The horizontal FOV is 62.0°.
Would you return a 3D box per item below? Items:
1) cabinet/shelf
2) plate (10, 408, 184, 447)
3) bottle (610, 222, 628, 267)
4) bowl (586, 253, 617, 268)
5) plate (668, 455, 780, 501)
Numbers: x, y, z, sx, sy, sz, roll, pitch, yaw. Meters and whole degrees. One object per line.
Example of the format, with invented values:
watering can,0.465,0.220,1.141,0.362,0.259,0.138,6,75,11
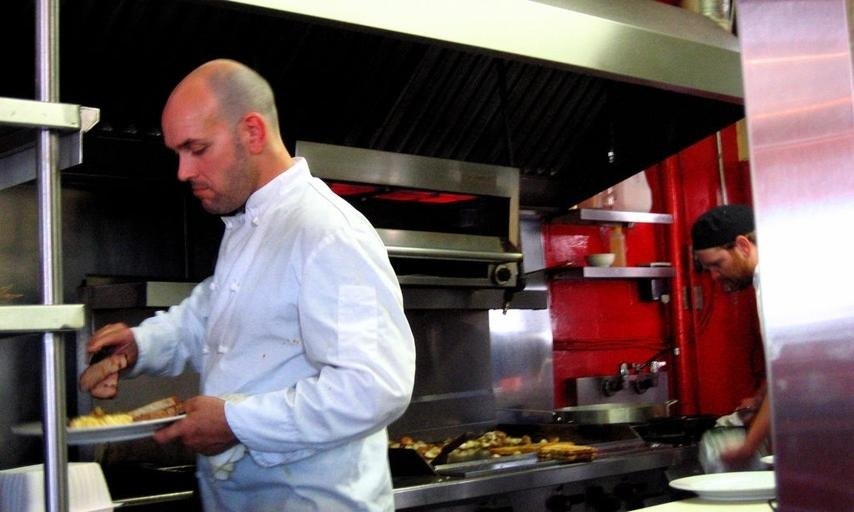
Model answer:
cabinet/shelf,1.211,-0.009,4.645,0.886,0.455,0.441,0,-6,-27
plate,-0.773,0.418,1.694,0.235,0.038,0.283,-11,-12,42
bottle,1.247,-0.069,4.659,0.099,0.298,0.253,-8,-10,14
bowl,1.071,0.024,4.389,0.166,0.098,0.128,-4,-9,-2
plate,0.851,0.658,2.044,0.267,0.048,0.360,-7,-9,23
